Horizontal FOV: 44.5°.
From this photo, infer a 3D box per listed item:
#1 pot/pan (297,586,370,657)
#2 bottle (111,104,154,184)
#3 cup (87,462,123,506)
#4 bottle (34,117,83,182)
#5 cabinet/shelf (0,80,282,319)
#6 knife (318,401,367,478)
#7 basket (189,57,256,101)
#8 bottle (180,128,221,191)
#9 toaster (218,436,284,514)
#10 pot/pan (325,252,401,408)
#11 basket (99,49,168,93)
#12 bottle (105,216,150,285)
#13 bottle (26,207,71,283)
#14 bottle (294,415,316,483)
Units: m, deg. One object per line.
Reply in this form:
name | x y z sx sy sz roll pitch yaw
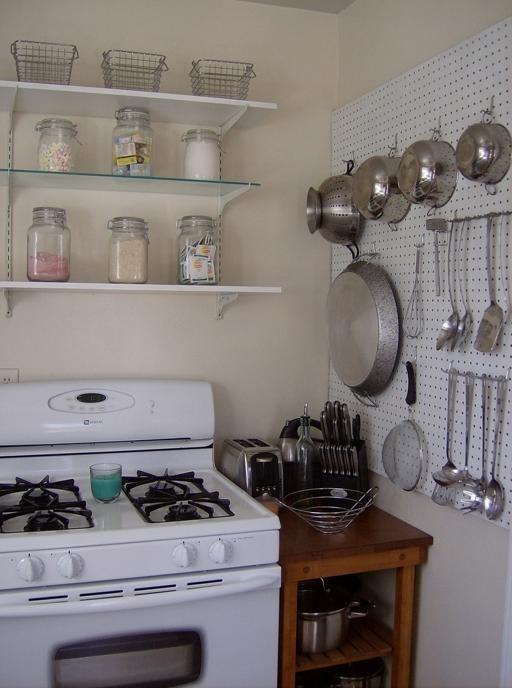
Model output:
pot/pan | 0.187 0.706 1.620 0.151 0.090 0.151 0 1 -5
bottle | -0.337 -0.551 1.719 0.106 0.210 0.164 0 5 -10
cup | -0.359 0.336 1.512 0.085 0.099 0.088 0 0 0
bottle | -0.518 -0.524 1.680 0.127 0.143 0.103 -3 5 -36
cabinet/shelf | -0.362 -0.424 1.814 0.761 0.556 0.242 1 -8 -20
knife | 0.261 0.285 1.868 0.141 0.235 0.222 1 5 9
basket | -0.086 -0.767 1.884 0.225 0.095 0.152 1 44 -4
bottle | -0.145 -0.517 1.781 0.143 0.201 0.148 0 -2 0
toaster | 0.006 0.370 1.830 0.105 0.165 0.228 0 5 -25
pot/pan | 0.306 -0.036 1.830 0.117 0.420 0.347 0 5 -11
basket | -0.319 -0.759 1.803 0.234 0.158 0.091 0 -40 -9
bottle | -0.347 -0.259 1.722 0.101 0.186 0.074 0 4 -14
bottle | -0.543 -0.261 1.655 0.102 0.193 0.071 -1 5 -20
bottle | 0.142 0.317 1.862 0.067 0.208 0.079 3 5 32
